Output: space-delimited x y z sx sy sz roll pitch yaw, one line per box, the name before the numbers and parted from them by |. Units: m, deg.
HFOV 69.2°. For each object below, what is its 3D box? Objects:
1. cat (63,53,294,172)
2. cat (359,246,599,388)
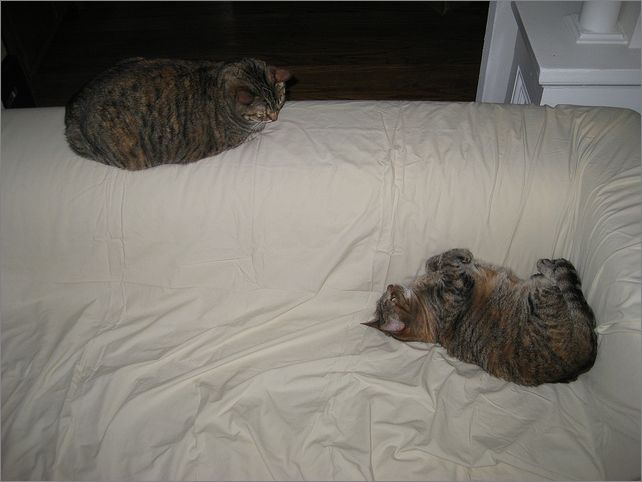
cat | -0.635 -0.501 2.074 0.762 0.305 0.491 -7 65 -9
cat | 0.631 0.275 1.752 0.654 0.446 0.246 20 1 32
